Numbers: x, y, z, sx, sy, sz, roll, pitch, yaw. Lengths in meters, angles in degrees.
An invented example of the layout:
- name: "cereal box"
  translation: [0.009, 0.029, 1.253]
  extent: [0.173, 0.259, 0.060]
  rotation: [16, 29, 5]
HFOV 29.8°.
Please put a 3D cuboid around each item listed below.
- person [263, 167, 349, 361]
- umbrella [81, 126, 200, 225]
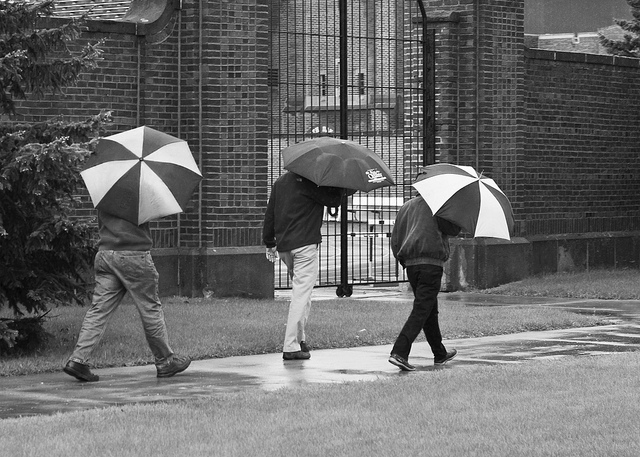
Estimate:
- name: "person"
  translation: [-0.296, 0.448, 14.597]
  extent: [0.824, 2.272, 0.681]
  rotation: [0, -1, 42]
- name: "umbrella"
  translation: [-2.007, -0.581, 13.482]
  extent: [1.273, 1.104, 0.555]
  rotation: [1, -1, -11]
